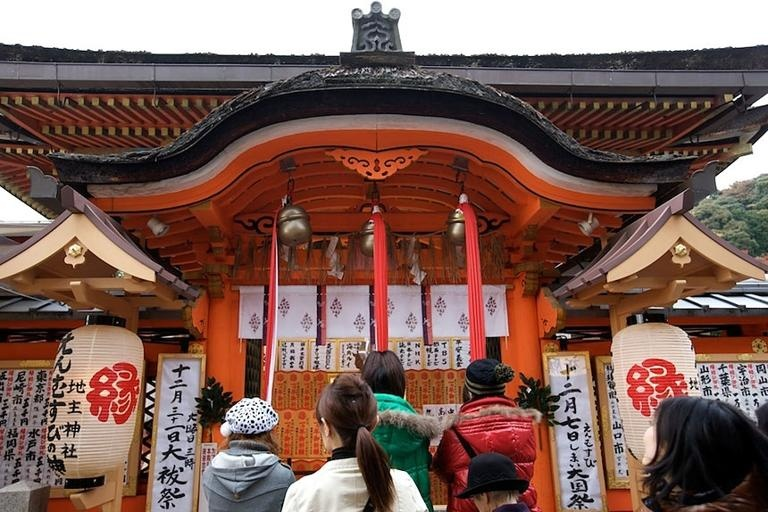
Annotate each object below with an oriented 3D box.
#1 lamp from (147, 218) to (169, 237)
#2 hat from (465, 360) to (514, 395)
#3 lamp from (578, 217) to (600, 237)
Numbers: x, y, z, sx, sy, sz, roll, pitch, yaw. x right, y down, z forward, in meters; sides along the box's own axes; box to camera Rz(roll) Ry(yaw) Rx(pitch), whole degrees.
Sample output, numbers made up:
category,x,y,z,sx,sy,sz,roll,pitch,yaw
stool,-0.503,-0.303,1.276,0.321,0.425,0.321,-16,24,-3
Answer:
category,x,y,z,sx,sy,sz,roll,pitch,yaw
lamp,-3.099,-0.376,10.263,0.275,0.220,0.331,6,-22,-19
hat,1.236,1.369,8.718,0.488,0.314,0.648,-4,1,-30
lamp,2.828,-0.401,10.410,0.237,0.209,0.328,11,-24,-29
